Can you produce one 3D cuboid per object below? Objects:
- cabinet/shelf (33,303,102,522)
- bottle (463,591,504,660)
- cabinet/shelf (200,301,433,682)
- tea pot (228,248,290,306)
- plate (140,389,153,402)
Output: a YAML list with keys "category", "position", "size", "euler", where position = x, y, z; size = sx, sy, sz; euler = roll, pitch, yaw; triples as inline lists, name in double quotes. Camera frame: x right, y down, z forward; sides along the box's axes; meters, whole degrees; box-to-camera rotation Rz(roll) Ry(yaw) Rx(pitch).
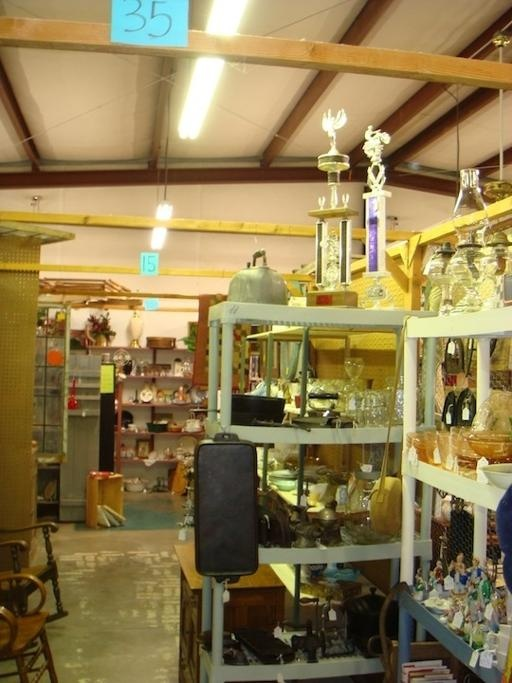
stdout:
- category: "cabinet/shelf"
  position: [-2.157, 0.862, 6.721]
  size: [0.759, 2.450, 1.774]
  euler: [4, -5, -14]
- category: "bottle"
  position: [0.614, 0.749, 1.574]
  size: [0.109, 0.132, 0.059]
  euler: [7, 5, -21]
- category: "cabinet/shelf"
  position: [0.176, 0.629, 2.394]
  size: [0.792, 1.542, 0.829]
  euler: [3, -5, -6]
- category: "tea pot"
  position: [0.006, -0.251, 2.475]
  size: [0.259, 0.249, 0.274]
  euler: [3, -2, 0]
- category: "plate"
  position: [-1.852, 0.912, 10.011]
  size: [0.237, 0.248, 0.166]
  euler: [3, -5, -12]
